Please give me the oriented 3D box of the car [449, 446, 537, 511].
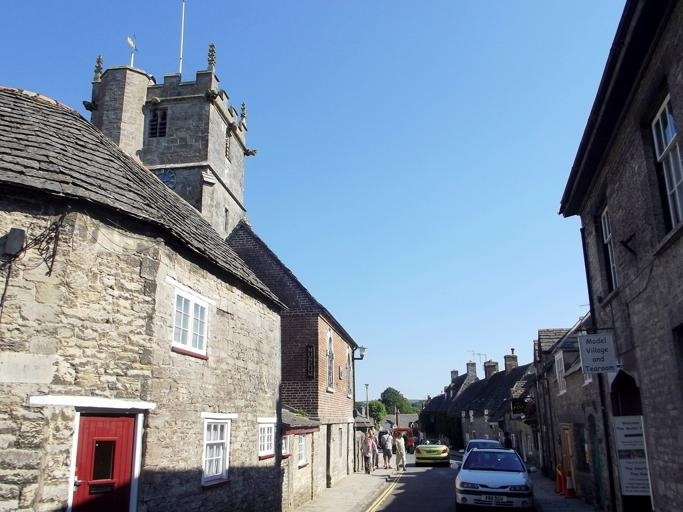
[{"bbox_3d":[4.495,6.488,15.246,1.301,1.385,2.885,-2,-37,8],"label":"car"}]
